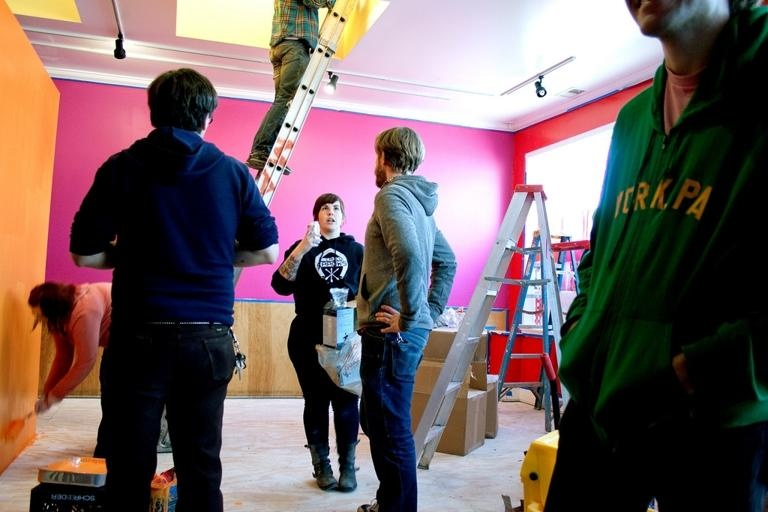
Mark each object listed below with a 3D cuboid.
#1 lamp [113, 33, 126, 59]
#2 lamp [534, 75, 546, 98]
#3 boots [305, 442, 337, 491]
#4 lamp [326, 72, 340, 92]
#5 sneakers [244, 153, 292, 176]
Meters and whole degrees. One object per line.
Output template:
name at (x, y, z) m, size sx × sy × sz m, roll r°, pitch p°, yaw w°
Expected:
lamp at (-2.299, -1.815, 5.025) m, size 0.082 × 0.227 × 0.301 m, roll 5°, pitch -1°, yaw -24°
lamp at (1.548, -1.687, 5.695) m, size 0.094 × 0.213 × 0.132 m, roll -1°, pitch -36°, yaw 7°
boots at (-0.347, 1.235, 3.452) m, size 0.197 × 0.260 × 0.180 m, roll 5°, pitch -1°, yaw 19°
lamp at (-0.498, -1.708, 5.617) m, size 0.133 × 0.226 × 0.091 m, roll 11°, pitch -32°, yaw 0°
sneakers at (-0.763, -0.595, 3.804) m, size 0.218 × 0.073 × 0.154 m, roll 3°, pitch 2°, yaw 8°
